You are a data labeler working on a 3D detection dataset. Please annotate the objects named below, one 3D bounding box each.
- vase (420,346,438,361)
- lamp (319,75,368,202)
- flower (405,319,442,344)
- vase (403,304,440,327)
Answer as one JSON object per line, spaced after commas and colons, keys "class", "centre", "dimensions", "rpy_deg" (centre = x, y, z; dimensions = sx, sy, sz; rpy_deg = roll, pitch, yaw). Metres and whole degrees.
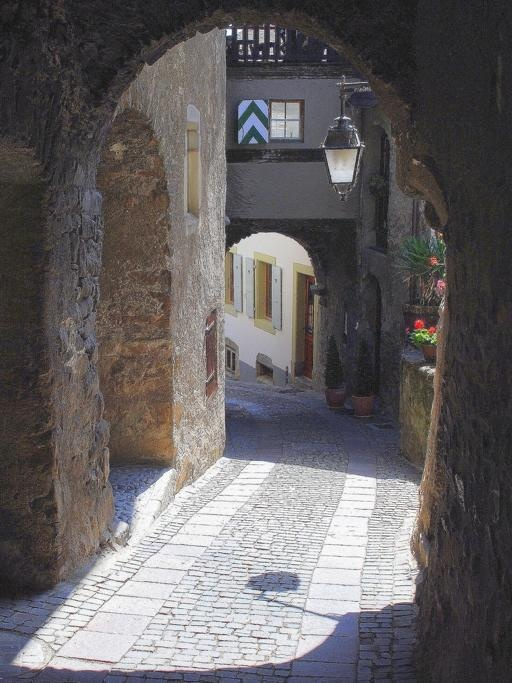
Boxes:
{"class": "vase", "centre": [1.872, 0.129, 9.317], "dimensions": [0.203, 0.172, 0.214], "rpy_deg": [1, 2, 2]}
{"class": "lamp", "centre": [0.894, -2.043, 8.680], "dimensions": [0.420, 1.206, 0.396], "rpy_deg": [4, 11, 28]}
{"class": "flower", "centre": [1.749, -0.107, 9.004], "dimensions": [0.241, 0.156, 0.243], "rpy_deg": [-5, 7, -37]}
{"class": "vase", "centre": [1.923, -0.303, 10.031], "dimensions": [0.279, 0.231, 0.272], "rpy_deg": [0, 3, -1]}
